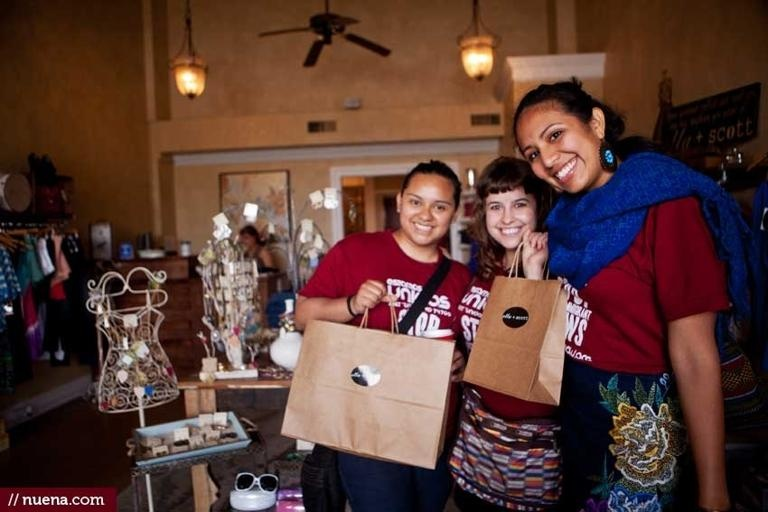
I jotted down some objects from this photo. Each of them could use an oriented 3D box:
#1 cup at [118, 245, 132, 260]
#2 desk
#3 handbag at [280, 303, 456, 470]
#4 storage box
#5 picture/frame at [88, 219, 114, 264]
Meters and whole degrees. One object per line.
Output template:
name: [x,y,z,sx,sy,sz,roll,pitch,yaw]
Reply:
cup: [-3.000,-0.028,7.005,0.162,0.185,0.166,0,-9,0]
desk: [-0.917,1.165,4.014,0.776,0.780,0.795,-1,2,2]
handbag: [-0.039,0.641,2.942,0.767,0.797,0.301,9,0,9]
storage box: [-1.165,1.108,3.561,0.517,0.094,0.333,-10,28,-14]
picture/frame: [-3.130,-0.170,6.544,0.227,0.318,0.240,-2,1,-17]
